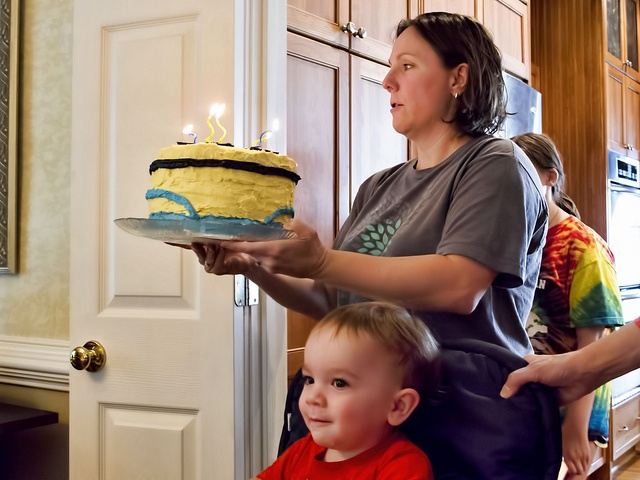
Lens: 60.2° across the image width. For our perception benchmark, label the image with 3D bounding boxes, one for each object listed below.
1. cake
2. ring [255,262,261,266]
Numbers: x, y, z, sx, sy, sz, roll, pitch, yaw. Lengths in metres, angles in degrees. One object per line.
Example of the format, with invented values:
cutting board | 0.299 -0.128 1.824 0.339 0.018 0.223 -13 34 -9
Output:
cake | -0.273 -0.129 1.474 0.401 0.226 0.436 4 1 24
ring | -0.161 0.063 1.448 0.012 0.007 0.019 10 -15 4
